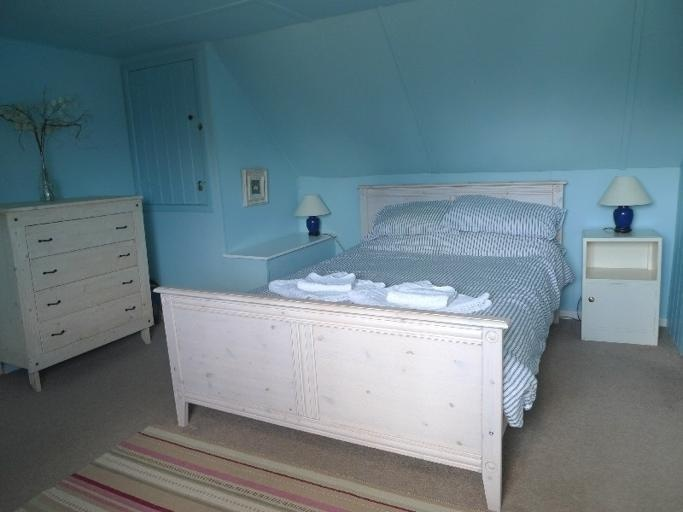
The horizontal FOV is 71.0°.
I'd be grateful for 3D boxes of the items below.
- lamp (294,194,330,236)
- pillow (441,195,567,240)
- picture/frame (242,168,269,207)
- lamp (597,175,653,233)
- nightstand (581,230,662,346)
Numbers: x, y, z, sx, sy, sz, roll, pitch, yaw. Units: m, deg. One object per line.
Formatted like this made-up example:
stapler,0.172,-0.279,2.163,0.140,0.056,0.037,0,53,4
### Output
lamp,-0.298,-0.437,5.064,0.407,0.427,0.402,-4,12,-8
pillow,1.327,-0.322,3.945,0.712,0.178,0.463,6,28,27
picture/frame,-0.832,-0.662,4.586,0.029,0.363,0.361,4,11,32
lamp,2.270,-0.414,3.987,0.462,0.506,0.443,-11,13,-25
nightstand,2.235,0.202,3.927,0.554,0.852,0.450,-5,24,18
